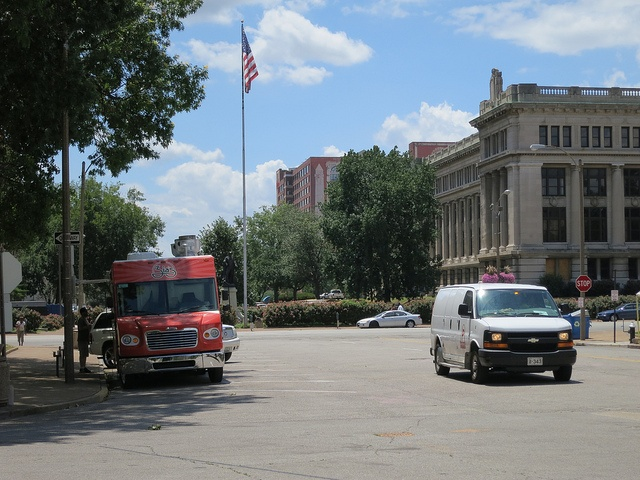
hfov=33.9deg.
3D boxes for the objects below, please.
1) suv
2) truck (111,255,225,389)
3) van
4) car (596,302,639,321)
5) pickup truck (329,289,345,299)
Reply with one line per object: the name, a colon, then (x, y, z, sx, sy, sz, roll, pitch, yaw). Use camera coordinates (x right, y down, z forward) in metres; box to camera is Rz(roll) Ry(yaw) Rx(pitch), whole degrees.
suv: (-6.192, 3.380, 35.893, 2.269, 1.950, 4.905, 1, -7, -27)
truck: (-4.402, 2.154, 30.511, 2.351, 2.745, 4.625, -1, -7, -11)
van: (4.845, 2.569, 30.236, 2.204, 1.708, 3.979, 1, -7, -14)
car: (20.440, 5.007, 71.729, 1.955, 1.239, 4.212, 1, -7, -6)
pickup truck: (1.992, 7.181, 137.656, 1.563, 0.766, 0.903, 10, -11, -36)
